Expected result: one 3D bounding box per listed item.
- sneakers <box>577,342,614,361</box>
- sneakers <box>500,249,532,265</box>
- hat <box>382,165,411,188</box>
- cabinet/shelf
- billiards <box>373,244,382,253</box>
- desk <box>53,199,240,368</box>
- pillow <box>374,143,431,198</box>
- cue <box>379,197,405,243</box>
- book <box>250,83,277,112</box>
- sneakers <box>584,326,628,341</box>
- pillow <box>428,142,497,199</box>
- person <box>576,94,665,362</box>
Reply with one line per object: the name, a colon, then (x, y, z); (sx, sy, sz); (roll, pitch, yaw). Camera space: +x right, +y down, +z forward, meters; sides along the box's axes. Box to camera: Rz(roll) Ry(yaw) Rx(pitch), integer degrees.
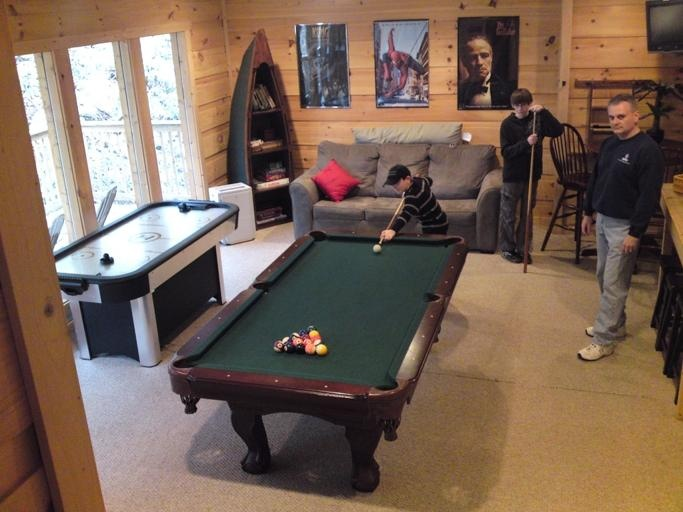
sneakers: (2.035, 0.750, 4.315); (0.332, 0.141, 0.116); (-5, 28, -8)
sneakers: (1.909, 0.018, 5.892); (0.118, 0.147, 0.348); (-2, 3, 4)
hat: (0.498, -0.704, 4.789); (0.180, 0.153, 0.264); (5, 17, 37)
cabinet/shelf: (-1.076, -1.834, 7.179); (0.648, 1.900, 0.478); (-12, 31, -24)
billiards: (0.288, -0.057, 4.308); (0.036, 0.036, 0.088); (22, 14, 13)
desk: (-1.557, 0.229, 4.327); (0.712, 0.685, 1.309); (6, 24, 13)
pillow: (0.723, -1.060, 6.716); (0.703, 0.645, 0.259); (4, 5, 14)
cue: (0.493, -0.340, 5.291); (0.104, 0.165, 1.267); (-1, 24, 16)
book: (-1.030, -2.082, 7.160); (0.124, 0.348, 0.341); (-10, -4, 44)
sneakers: (2.144, 0.629, 4.355); (0.291, 0.123, 0.094); (7, 18, 8)
pillow: (1.411, -1.032, 6.408); (0.744, 0.698, 0.239); (0, -17, 19)
person: (2.107, -0.190, 4.117); (0.475, 1.991, 0.557); (5, 20, 23)
